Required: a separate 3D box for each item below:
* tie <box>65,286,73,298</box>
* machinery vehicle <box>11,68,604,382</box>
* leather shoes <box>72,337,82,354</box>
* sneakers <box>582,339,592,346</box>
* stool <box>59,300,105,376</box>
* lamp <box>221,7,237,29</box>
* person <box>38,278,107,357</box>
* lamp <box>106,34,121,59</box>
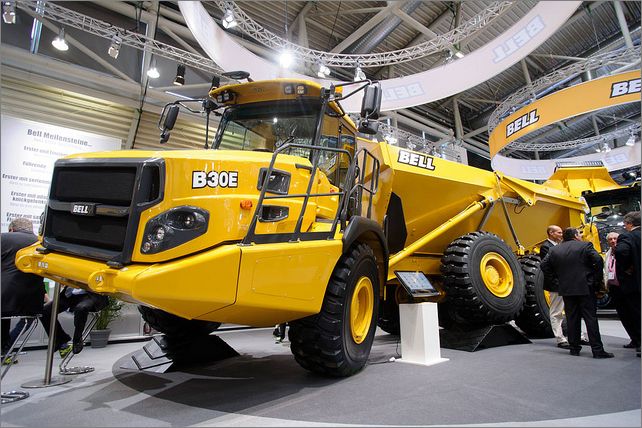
[{"bbox_3d":[-3.855,1.193,5.449,0.140,0.129,0.040,2,-37,7],"label":"tie"},{"bbox_3d":[1.033,0.122,5.993,8.096,2.792,3.566,6,-9,-43],"label":"machinery vehicle"},{"bbox_3d":[-3.501,1.912,5.130,0.112,0.252,0.089,4,0,21],"label":"leather shoes"},{"bbox_3d":[4.627,2.229,6.237,0.109,0.122,0.320,-2,-14,26],"label":"sneakers"},{"bbox_3d":[-3.587,1.973,5.213,0.486,0.659,0.373,-10,7,-30],"label":"stool"},{"bbox_3d":[-2.103,-4.555,8.221,0.326,0.607,0.339,1,-9,-15],"label":"lamp"},{"bbox_3d":[-3.734,1.428,5.359,0.877,1.126,0.715,-4,6,-44],"label":"person"},{"bbox_3d":[-5.161,-4.161,8.959,0.335,0.681,0.228,4,21,-20],"label":"lamp"}]
